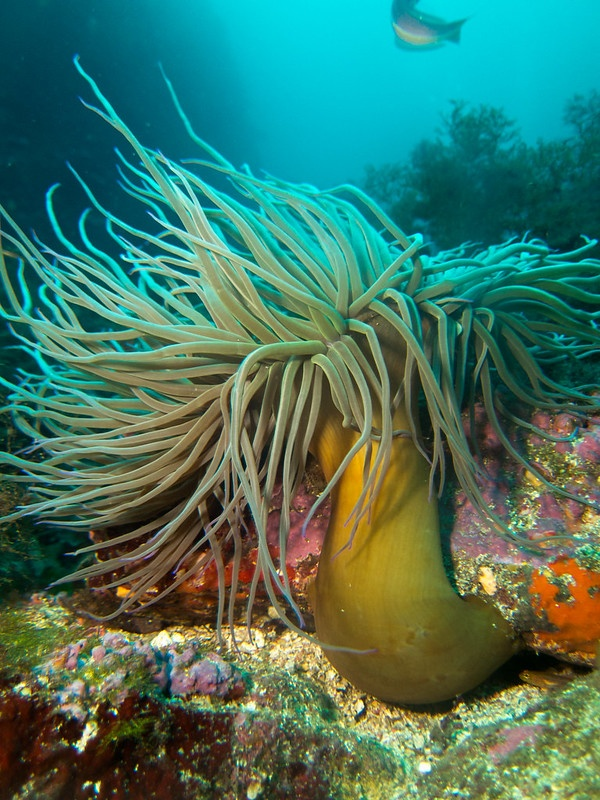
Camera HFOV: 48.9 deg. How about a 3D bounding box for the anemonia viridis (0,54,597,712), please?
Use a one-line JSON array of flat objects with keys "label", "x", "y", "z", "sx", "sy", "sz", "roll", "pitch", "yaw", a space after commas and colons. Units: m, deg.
[{"label": "anemonia viridis", "x": -0.056, "y": -0.058, "z": 2.784, "sx": 2.275, "sy": 2.380, "sz": 1.350, "roll": 4, "pitch": 13, "yaw": 21}]
